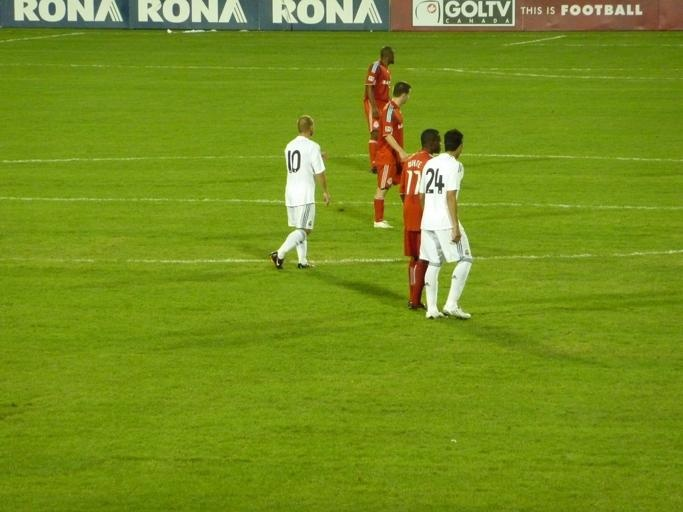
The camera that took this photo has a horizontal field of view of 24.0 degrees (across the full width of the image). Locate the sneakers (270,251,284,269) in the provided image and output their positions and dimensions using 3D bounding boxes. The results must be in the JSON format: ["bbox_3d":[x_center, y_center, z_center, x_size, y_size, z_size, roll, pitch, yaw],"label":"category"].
[{"bbox_3d":[-1.033,0.042,25.379,0.182,0.203,0.286,19,14,-16],"label":"sneakers"}]

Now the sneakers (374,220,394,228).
[{"bbox_3d":[0.676,-0.561,27.602,0.245,0.094,0.128,3,20,8],"label":"sneakers"}]

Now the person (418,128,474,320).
[{"bbox_3d":[1.472,-0.445,23.294,0.789,2.804,0.429,2,10,13],"label":"person"}]

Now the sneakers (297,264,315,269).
[{"bbox_3d":[-0.597,0.146,25.469,0.079,0.093,0.238,9,13,40],"label":"sneakers"}]
